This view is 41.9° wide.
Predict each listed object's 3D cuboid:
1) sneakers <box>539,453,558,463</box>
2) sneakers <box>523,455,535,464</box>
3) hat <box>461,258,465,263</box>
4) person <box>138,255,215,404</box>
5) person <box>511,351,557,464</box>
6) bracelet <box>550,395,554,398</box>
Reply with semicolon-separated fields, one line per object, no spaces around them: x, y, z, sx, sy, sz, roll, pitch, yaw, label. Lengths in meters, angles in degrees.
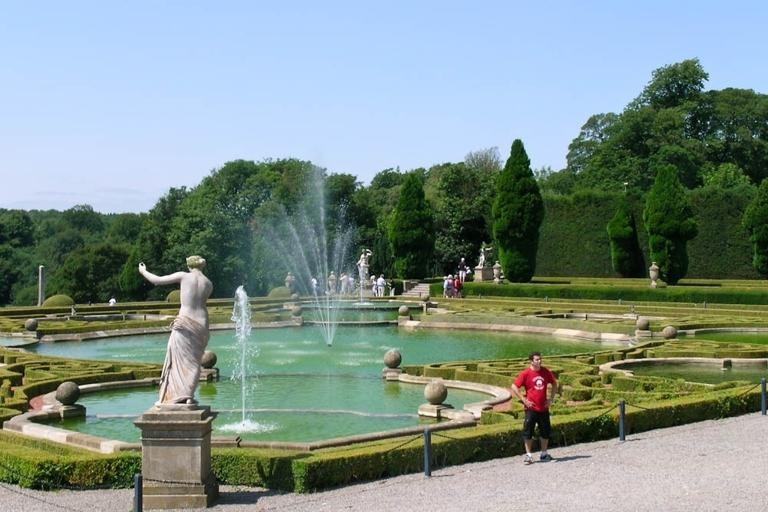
3.949;4.836;24.195;0.371;0.190;0.209;-1;-4;-5;sneakers
3.508;4.870;24.138;0.270;0.235;0.255;-2;-4;7;sneakers
5.322;0.196;66.740;0.377;0.338;0.365;2;-6;-13;hat
-4.685;1.694;23.501;1.274;3.478;0.842;0;-4;-11;person
3.729;3.656;24.443;0.937;2.662;0.927;-3;-4;28;person
4.082;3.392;24.305;0.063;0.082;0.024;-2;-6;19;bracelet
